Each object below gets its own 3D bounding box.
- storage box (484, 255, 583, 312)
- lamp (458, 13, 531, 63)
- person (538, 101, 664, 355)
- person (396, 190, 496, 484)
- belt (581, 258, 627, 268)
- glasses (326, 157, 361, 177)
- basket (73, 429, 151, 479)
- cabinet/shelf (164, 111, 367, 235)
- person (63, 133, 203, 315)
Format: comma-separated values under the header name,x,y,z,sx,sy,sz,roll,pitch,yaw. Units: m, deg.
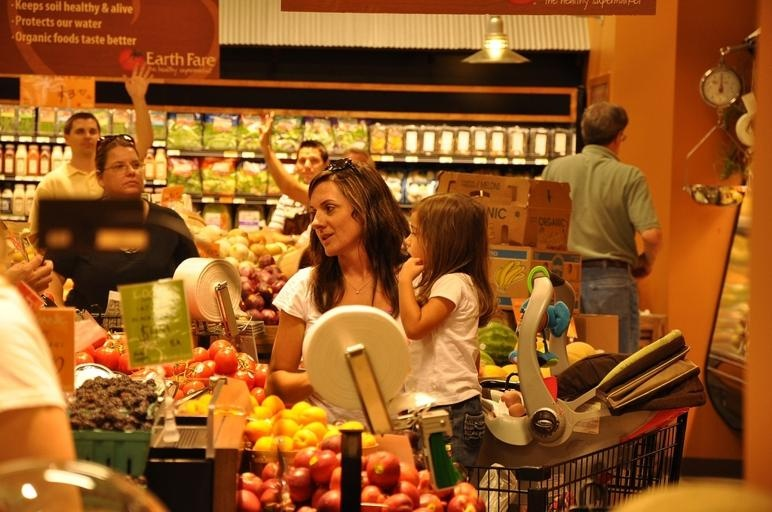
name,x,y,z,sx,sy,sz,roll,pitch,yaw
storage box,0.809,0.104,3.838,0.538,0.322,0.354,-3,3,-17
lamp,1.077,-2.159,6.782,0.616,0.474,0.645,-4,13,-10
person,1.427,-0.261,4.526,0.564,1.971,0.645,-9,15,-20
person,0.223,0.495,2.746,0.406,1.469,0.456,1,11,13
belt,1.444,0.041,4.486,0.283,0.064,0.083,1,0,-6
glasses,-0.173,-0.339,2.570,0.142,0.061,0.119,1,0,18
basket,-0.687,0.470,1.685,0.174,0.135,0.100,0,-7,1
cabinet/shelf,-0.818,-0.747,5.842,1.705,1.088,0.573,-11,14,-27
person,-1.411,-0.184,3.643,0.747,0.789,0.339,1,0,7
